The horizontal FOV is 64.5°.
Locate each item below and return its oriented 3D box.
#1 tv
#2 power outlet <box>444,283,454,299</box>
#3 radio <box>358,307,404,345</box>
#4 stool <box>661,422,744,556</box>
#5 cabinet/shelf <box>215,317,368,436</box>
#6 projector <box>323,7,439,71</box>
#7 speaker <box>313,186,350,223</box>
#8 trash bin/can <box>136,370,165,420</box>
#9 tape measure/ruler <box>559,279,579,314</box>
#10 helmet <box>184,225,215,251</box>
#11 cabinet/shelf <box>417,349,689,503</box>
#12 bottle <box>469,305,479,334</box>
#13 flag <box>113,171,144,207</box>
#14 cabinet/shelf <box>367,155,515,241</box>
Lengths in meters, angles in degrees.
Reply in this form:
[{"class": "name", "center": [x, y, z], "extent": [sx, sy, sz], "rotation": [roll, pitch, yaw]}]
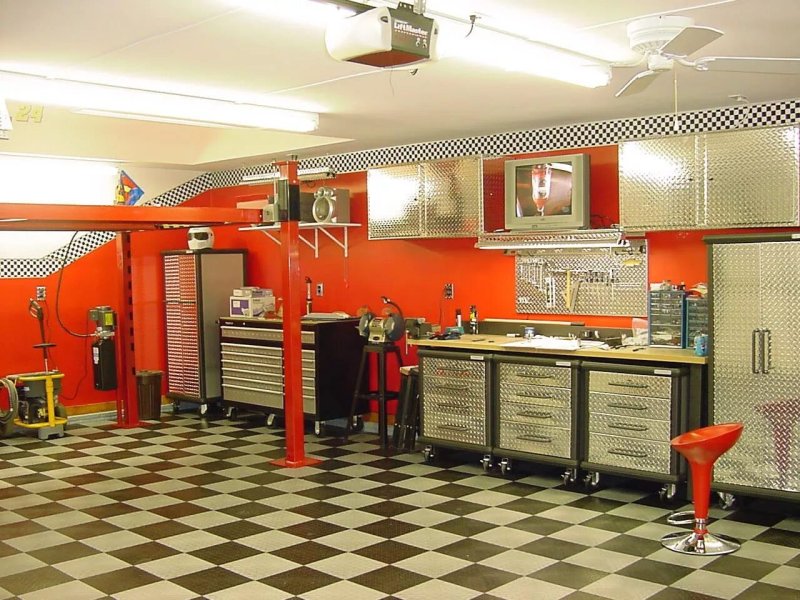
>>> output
[{"class": "tv", "center": [1.601, -1.165, 7.006], "extent": [0.885, 0.807, 0.239], "rotation": [1, 6, 35]}, {"class": "power outlet", "center": [0.642, -0.116, 8.177], "extent": [0.126, 0.213, 0.040], "rotation": [1, 6, 35]}, {"class": "radio", "center": [-0.235, 0.348, 8.025], "extent": [0.379, 0.371, 0.562], "rotation": [-5, 5, -40]}, {"class": "stool", "center": [2.347, 1.424, 4.947], "extent": [0.571, 0.973, 0.478], "rotation": [0, 5, 21]}, {"class": "cabinet/shelf", "center": [-1.353, 1.012, 8.457], "extent": [2.355, 1.180, 0.808], "rotation": [1, 1, 35]}, {"class": "projector", "center": [-0.124, -1.401, 3.601], "extent": [0.581, 0.215, 0.410], "rotation": [-4, 11, -41]}, {"class": "speaker", "center": [-0.919, -1.301, 8.749], "extent": [0.509, 0.497, 0.282], "rotation": [-3, 4, -17]}, {"class": "trash bin/can", "center": [-3.701, 1.416, 9.434], "extent": [0.337, 0.706, 0.433], "rotation": [-3, 4, -12]}, {"class": "tape measure/ruler", "center": [1.960, -0.036, 7.261], "extent": [0.199, 0.379, 0.042], "rotation": [2, 6, 41]}, {"class": "helmet", "center": [-3.053, -0.950, 9.763], "extent": [0.352, 0.360, 0.326], "rotation": [-3, 4, -16]}, {"class": "cabinet/shelf", "center": [1.627, 1.268, 6.360], "extent": [2.056, 0.629, 0.622], "rotation": [0, 0, 34]}, {"class": "bottle", "center": [0.923, 0.228, 7.854], "extent": [0.128, 0.334, 0.230], "rotation": [-2, 4, 5]}, {"class": "flag", "center": [-4.176, -1.719, 9.652], "extent": [0.358, 0.527, 0.503], "rotation": [-2, 4, 3]}, {"class": "cabinet/shelf", "center": [0.419, -1.248, 7.876], "extent": [1.561, 0.915, 0.461], "rotation": [2, 6, 37]}]
